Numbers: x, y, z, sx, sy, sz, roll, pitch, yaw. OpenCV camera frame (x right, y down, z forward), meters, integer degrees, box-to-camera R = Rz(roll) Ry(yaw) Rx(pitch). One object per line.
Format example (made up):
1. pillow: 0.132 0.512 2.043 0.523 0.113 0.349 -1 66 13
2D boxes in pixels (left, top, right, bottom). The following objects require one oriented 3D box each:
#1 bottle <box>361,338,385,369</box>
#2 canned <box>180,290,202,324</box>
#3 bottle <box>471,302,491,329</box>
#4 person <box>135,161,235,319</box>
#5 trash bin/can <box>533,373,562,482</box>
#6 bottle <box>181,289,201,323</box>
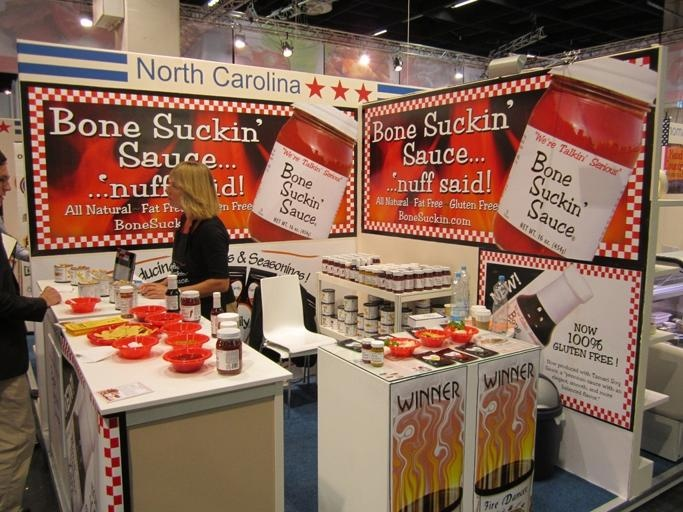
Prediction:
1. bottle: 0.157 0.524 2.770 0.088 0.143 0.136 -2 5 -42
2. canned: -0.872 0.293 3.014 0.107 0.188 0.109 -6 15 -33
3. bottle: 0.919 0.393 3.452 0.124 0.144 0.125 8 10 44
4. person: -1.083 0.215 3.742 0.526 1.741 0.564 -19 36 -39
5. trash bin/can: 1.410 1.203 3.543 0.179 0.685 0.327 6 11 23
6. bottle: -0.870 0.295 3.018 0.103 0.188 0.112 1 14 0
